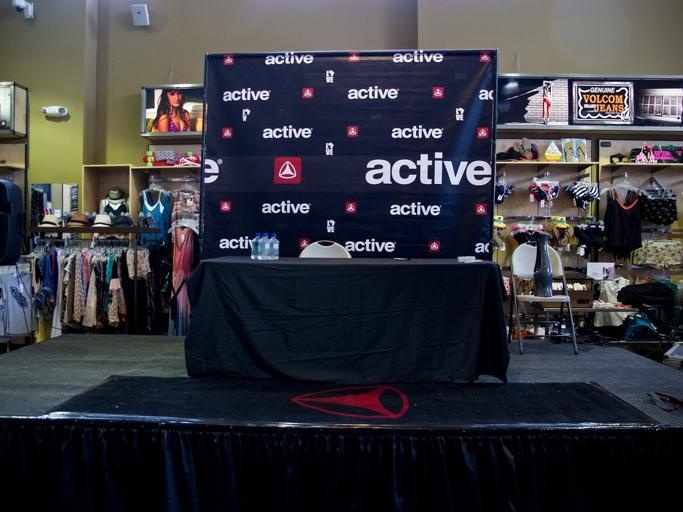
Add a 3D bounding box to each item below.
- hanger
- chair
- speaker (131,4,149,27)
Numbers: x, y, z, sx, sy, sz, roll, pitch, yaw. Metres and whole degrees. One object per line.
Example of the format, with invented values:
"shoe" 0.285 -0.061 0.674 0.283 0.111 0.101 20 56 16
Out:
"hanger" -2.754 -0.485 8.258 0.844 0.845 0.299 0 -26 -1
"chair" 2.175 0.378 7.325 0.699 1.262 1.811 4 16 14
"speaker" -2.619 -3.169 8.936 0.231 0.297 0.159 -4 15 -14
